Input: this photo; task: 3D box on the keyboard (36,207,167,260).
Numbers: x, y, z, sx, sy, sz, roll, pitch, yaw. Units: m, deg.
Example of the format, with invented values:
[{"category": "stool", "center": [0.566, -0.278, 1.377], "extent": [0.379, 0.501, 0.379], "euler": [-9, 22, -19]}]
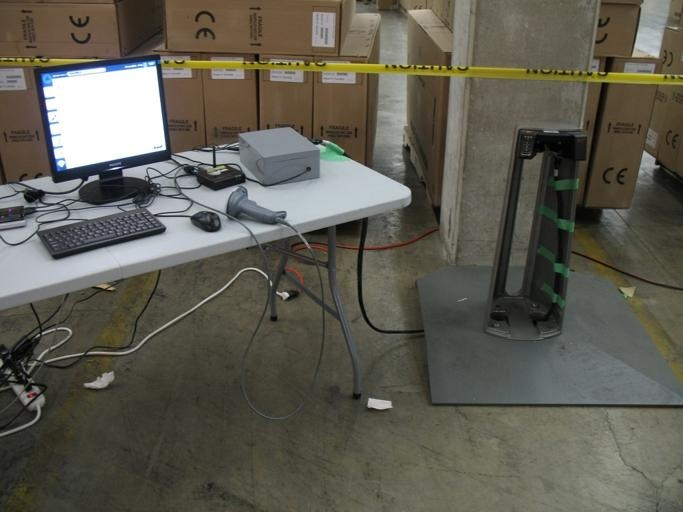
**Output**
[{"category": "keyboard", "center": [-0.873, -0.084, 1.898], "extent": [0.426, 0.066, 0.167], "euler": [-12, 31, -24]}]

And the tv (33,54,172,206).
[{"category": "tv", "center": [-0.958, -0.538, 2.078], "extent": [0.159, 0.629, 0.515], "euler": [26, 35, 34]}]

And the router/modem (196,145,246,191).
[{"category": "router/modem", "center": [-0.519, -0.375, 2.246], "extent": [0.153, 0.108, 0.162], "euler": [18, 28, 37]}]

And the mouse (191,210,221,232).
[{"category": "mouse", "center": [-0.507, -0.131, 1.951], "extent": [0.121, 0.056, 0.076], "euler": [15, 30, 24]}]
